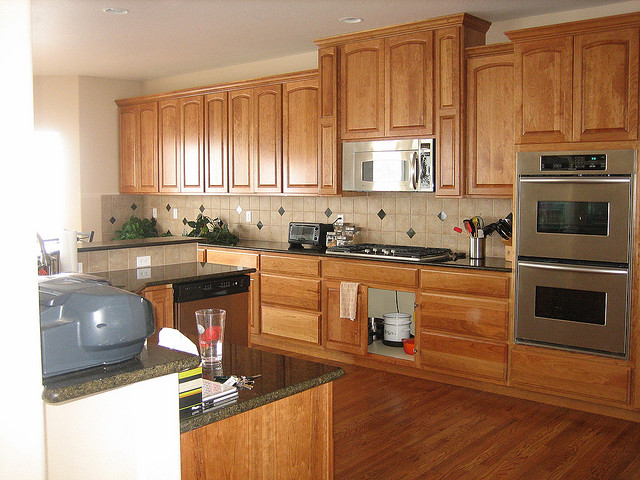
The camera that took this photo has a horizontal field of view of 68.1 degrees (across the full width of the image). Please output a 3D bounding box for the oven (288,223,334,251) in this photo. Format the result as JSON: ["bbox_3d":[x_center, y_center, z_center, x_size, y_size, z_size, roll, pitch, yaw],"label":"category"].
[{"bbox_3d":[-0.118,-0.060,5.387,0.520,0.310,0.309,2,0,37],"label":"oven"}]

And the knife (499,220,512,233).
[{"bbox_3d":[1.668,-0.129,4.282,0.040,0.038,0.144,-11,52,-49],"label":"knife"}]

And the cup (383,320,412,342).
[{"bbox_3d":[0.749,0.865,4.677,0.231,0.153,0.206,-1,-3,44],"label":"cup"}]

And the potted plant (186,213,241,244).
[{"bbox_3d":[-1.392,-0.138,6.155,0.510,0.214,0.466,2,3,2],"label":"potted plant"}]

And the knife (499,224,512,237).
[{"bbox_3d":[1.657,-0.089,4.254,0.042,0.168,0.044,-28,-27,-20],"label":"knife"}]

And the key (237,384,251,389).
[{"bbox_3d":[-0.264,0.505,1.657,0.051,0.006,0.008,9,-5,31],"label":"key"}]

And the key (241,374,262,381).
[{"bbox_3d":[-0.244,0.495,1.723,0.067,0.016,0.014,-14,4,33],"label":"key"}]

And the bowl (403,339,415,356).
[{"bbox_3d":[0.836,0.990,4.456,0.136,0.082,0.111,1,2,43],"label":"bowl"}]

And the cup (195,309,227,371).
[{"bbox_3d":[-0.412,0.368,1.815,0.099,0.227,0.140,-4,7,-16],"label":"cup"}]

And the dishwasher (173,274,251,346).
[{"bbox_3d":[-0.966,0.507,3.922,0.482,0.572,0.549,-3,11,-44],"label":"dishwasher"}]

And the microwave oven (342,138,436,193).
[{"bbox_3d":[0.739,-0.725,4.752,0.913,0.506,0.536,5,10,42],"label":"microwave oven"}]

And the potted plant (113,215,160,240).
[{"bbox_3d":[-2.648,-0.169,6.941,0.558,0.257,0.472,14,9,17],"label":"potted plant"}]
